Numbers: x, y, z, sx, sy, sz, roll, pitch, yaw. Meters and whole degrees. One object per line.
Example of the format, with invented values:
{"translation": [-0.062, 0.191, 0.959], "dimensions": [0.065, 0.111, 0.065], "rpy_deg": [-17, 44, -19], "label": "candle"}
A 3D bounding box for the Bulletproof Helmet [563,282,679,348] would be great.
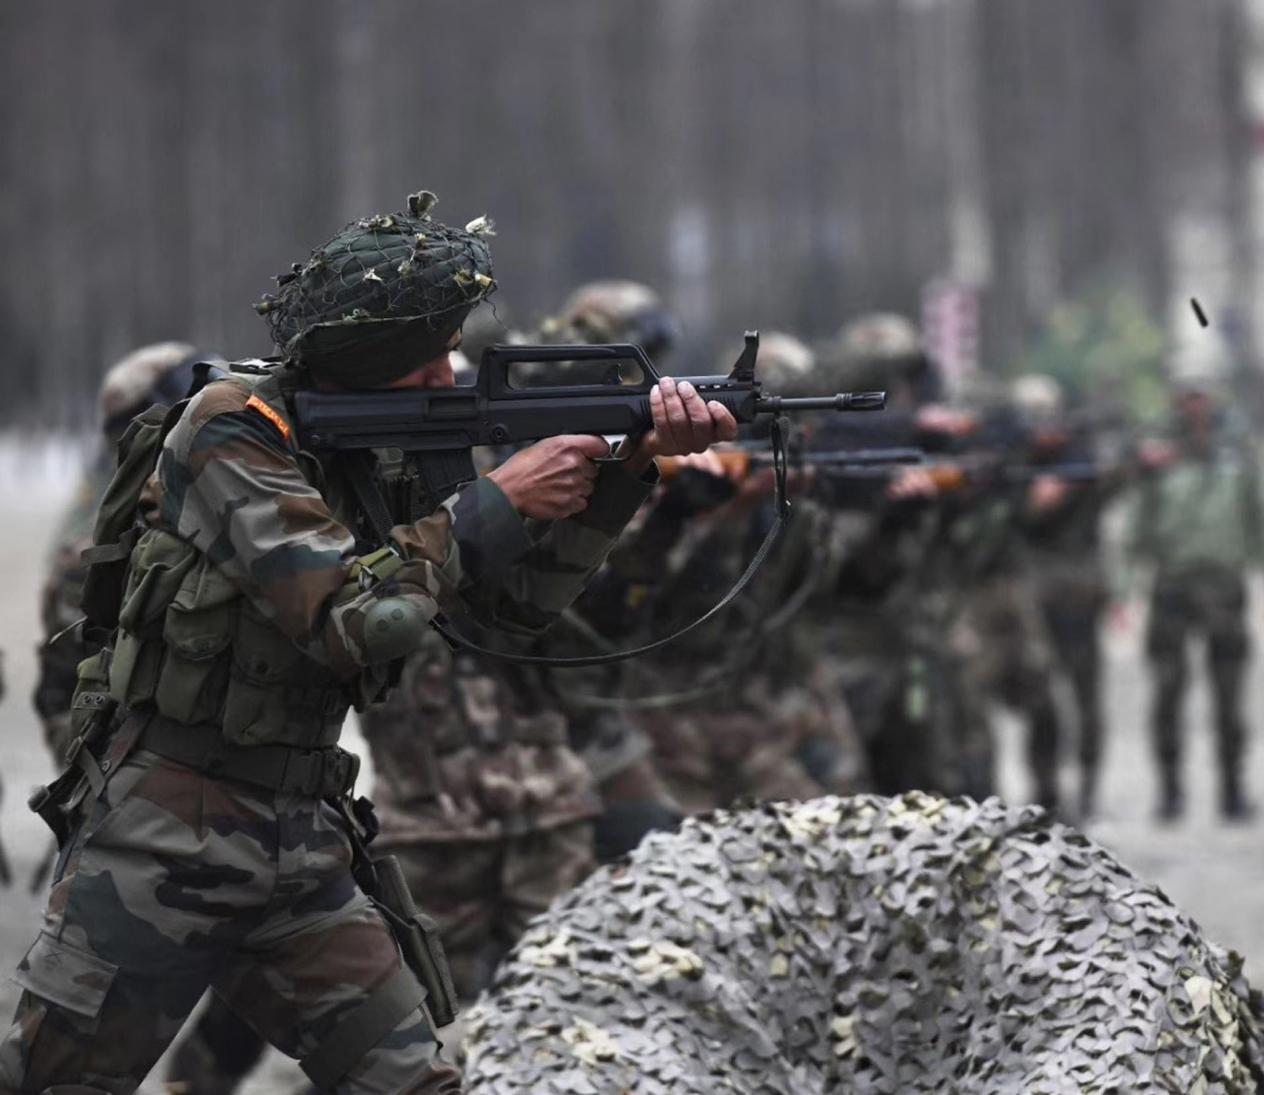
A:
{"translation": [-0.081, -0.675, 8.734], "dimensions": [0.284, 0.173, 0.373], "rpy_deg": [5, -8, -43], "label": "Bulletproof Helmet"}

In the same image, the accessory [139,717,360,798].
{"translation": [-0.826, 0.467, 6.284], "dimensions": [0.243, 0.068, 0.263], "rpy_deg": [18, -2, -37], "label": "accessory"}
